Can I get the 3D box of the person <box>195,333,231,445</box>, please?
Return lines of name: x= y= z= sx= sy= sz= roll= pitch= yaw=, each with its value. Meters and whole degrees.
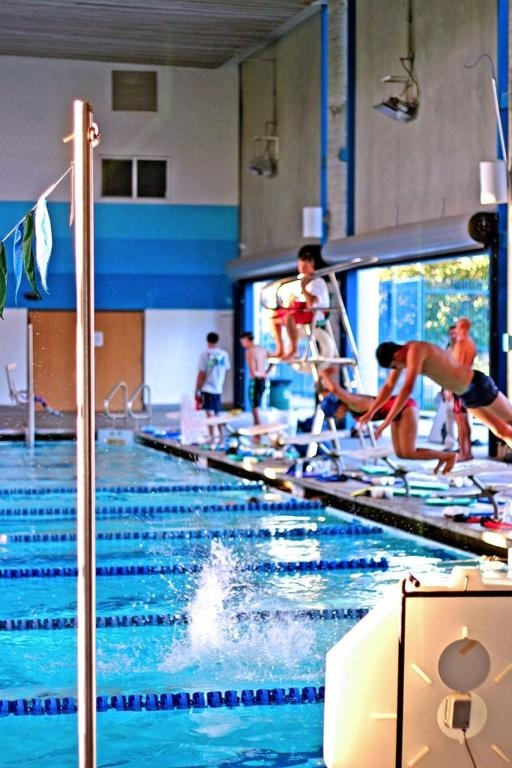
person: x=-0.351 y=0.022 z=10.453 sx=0.289 sy=0.869 sz=1.131 roll=-2 pitch=3 yaw=-2

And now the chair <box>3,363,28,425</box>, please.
chair: x=-2.167 y=0.027 z=11.823 sx=0.176 sy=0.402 sz=0.989 roll=-3 pitch=3 yaw=-12

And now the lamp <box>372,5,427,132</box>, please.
lamp: x=1.004 y=-2.324 z=9.609 sx=0.284 sy=0.876 sz=0.646 roll=-3 pitch=3 yaw=-8

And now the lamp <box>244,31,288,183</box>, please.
lamp: x=0.023 y=-2.487 z=12.344 sx=0.362 sy=1.197 sz=1.313 roll=-2 pitch=3 yaw=-1
